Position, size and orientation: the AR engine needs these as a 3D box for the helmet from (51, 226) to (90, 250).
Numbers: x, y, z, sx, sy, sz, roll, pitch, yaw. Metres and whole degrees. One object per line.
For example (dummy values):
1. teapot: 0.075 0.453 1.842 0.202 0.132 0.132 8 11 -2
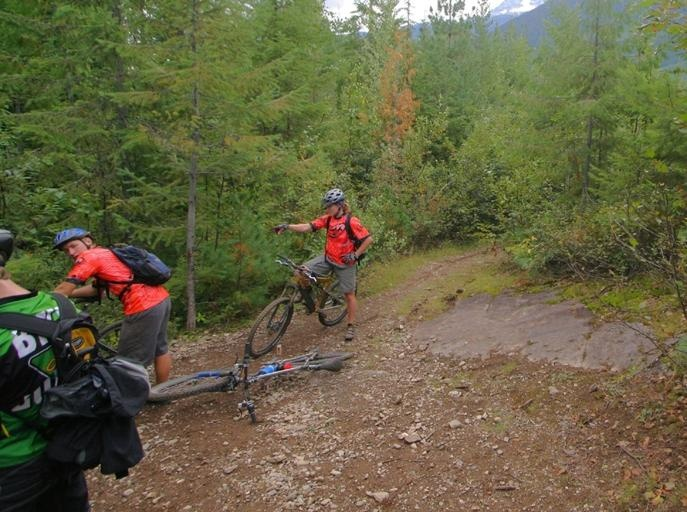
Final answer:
1. helmet: -4.430 -0.296 9.385 0.455 0.251 0.325 -5 -5 -45

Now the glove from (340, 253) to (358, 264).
1. glove: 0.129 0.058 11.971 0.191 0.252 0.256 30 1 31

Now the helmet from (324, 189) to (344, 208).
1. helmet: -0.165 -1.220 11.956 0.414 0.228 0.296 -15 27 -33

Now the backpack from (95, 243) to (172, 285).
1. backpack: -3.419 0.233 9.735 0.868 0.377 0.620 34 18 15

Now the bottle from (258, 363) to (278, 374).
1. bottle: -1.315 2.044 10.352 0.151 0.084 0.265 13 22 37
